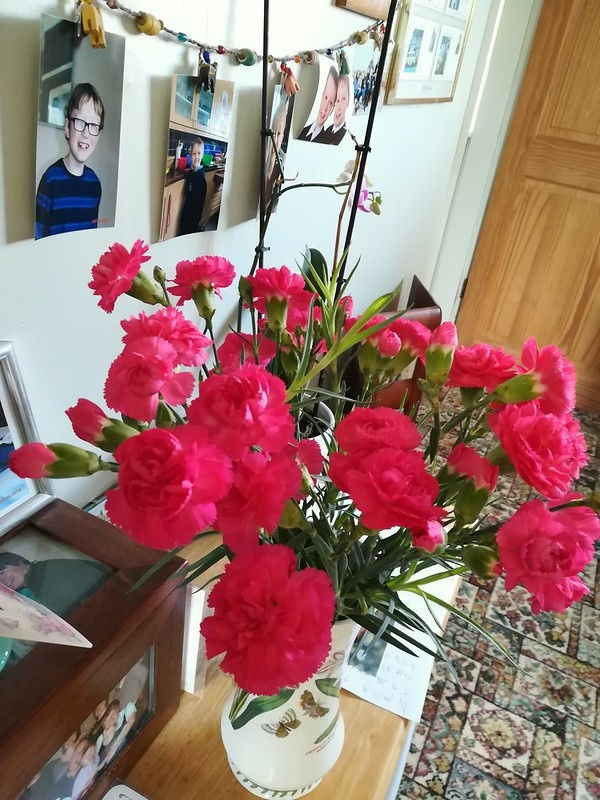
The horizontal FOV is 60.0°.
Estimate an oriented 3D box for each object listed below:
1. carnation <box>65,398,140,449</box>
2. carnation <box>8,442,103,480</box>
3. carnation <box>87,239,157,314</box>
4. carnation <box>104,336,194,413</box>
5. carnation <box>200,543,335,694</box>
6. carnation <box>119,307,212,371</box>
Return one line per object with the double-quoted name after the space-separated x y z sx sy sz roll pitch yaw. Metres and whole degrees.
-0.109 0.015 0.295 0.049 0.019 0.027 15 8 1 "carnation"
-0.133 0.034 0.279 0.049 0.020 0.020 7 -11 -35 "carnation"
-0.131 -0.094 0.403 0.057 0.058 0.027 23 -6 40 "carnation"
-0.088 -0.010 0.302 0.049 0.047 0.054 1 31 -20 "carnation"
-0.017 0.117 0.274 0.068 0.059 0.059 9 29 -7 "carnation"
-0.083 -0.052 0.341 0.046 0.024 0.046 14 27 -22 "carnation"
